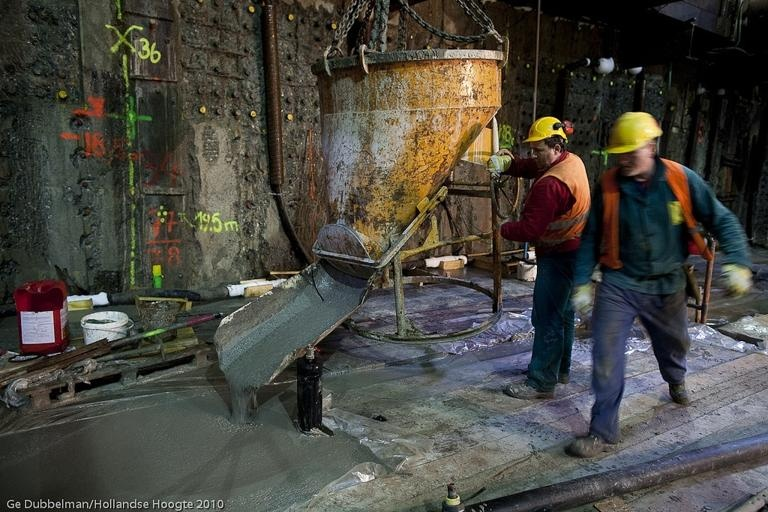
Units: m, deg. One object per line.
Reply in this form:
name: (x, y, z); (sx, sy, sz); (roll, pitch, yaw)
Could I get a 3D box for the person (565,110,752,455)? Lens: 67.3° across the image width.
person: (2.407, 0.225, 5.308); (1.465, 3.036, 0.847); (-3, 11, 2)

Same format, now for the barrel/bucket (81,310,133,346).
barrel/bucket: (-3.223, 0.809, 6.693); (0.447, 0.305, 0.434); (1, -2, 0)

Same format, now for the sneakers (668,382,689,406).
sneakers: (3.037, 1.412, 5.925); (0.122, 0.136, 0.317); (-9, 9, 11)

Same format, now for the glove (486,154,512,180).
glove: (1.298, -0.992, 6.327); (0.243, 0.281, 0.312); (-3, 4, -32)

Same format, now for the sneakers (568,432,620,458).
sneakers: (1.961, 1.728, 5.295); (0.512, 0.200, 0.195); (4, -5, -13)

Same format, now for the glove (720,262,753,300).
glove: (3.080, 0.208, 5.011); (0.272, 0.280, 0.279); (2, 43, 10)

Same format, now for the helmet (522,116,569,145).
helmet: (1.651, -1.272, 5.852); (0.397, 0.199, 0.279); (-2, 10, -17)

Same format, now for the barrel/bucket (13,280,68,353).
barrel/bucket: (-3.795, 0.682, 6.372); (0.515, 0.774, 0.261); (-8, 11, -24)

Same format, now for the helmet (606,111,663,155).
helmet: (2.214, -1.142, 5.170); (0.599, 0.309, 0.423); (-17, 24, -22)
